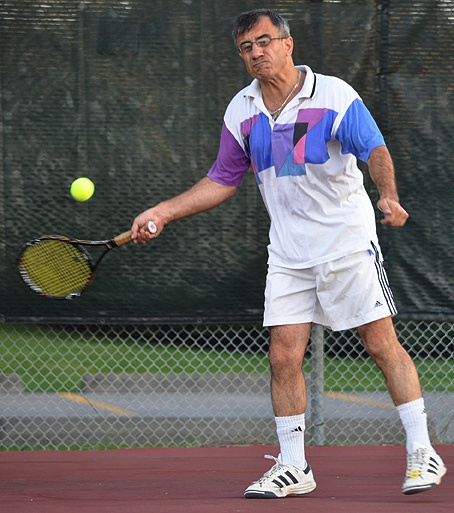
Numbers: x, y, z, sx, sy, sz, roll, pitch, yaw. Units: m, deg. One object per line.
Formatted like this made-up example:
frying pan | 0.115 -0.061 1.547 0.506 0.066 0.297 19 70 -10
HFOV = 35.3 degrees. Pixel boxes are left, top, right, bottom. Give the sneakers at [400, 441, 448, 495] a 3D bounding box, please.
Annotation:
sneakers | 0.664 0.714 2.401 0.137 0.163 0.104 -2 -6 17

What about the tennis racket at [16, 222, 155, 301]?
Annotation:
tennis racket | -0.635 0.011 3.132 0.493 0.147 0.033 -13 5 13

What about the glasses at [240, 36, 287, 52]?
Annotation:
glasses | 0.124 -0.752 2.516 0.164 0.061 0.063 0 -5 1

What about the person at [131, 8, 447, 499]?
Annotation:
person | 0.330 -0.010 2.552 0.915 1.764 0.538 -5 -7 40

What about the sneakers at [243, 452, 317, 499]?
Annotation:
sneakers | 0.193 0.809 2.618 0.315 0.125 0.108 4 -15 -35

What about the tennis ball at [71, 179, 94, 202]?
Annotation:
tennis ball | -0.639 -0.303 3.151 0.087 0.109 0.135 0 -5 -1
